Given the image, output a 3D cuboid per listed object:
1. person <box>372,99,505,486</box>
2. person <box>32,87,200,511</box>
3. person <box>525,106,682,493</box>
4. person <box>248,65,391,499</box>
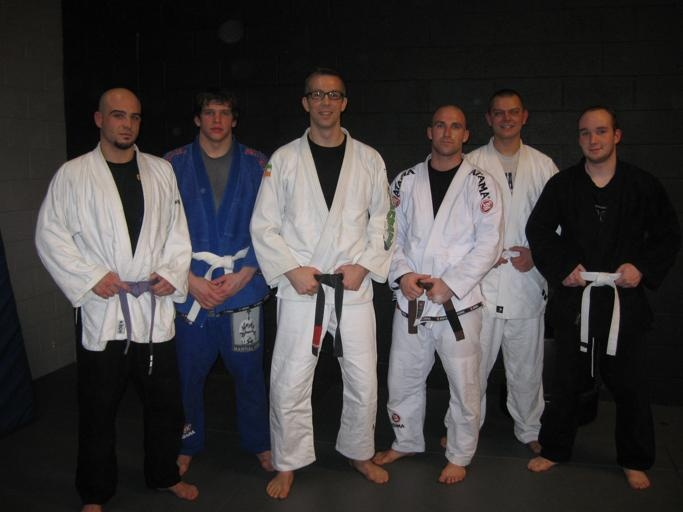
[{"bbox_3d":[0.592,0.206,3.737,0.686,2.203,0.554,5,12,24],"label":"person"},{"bbox_3d":[-1.264,0.227,3.485,0.799,2.313,0.436,-6,12,-27],"label":"person"},{"bbox_3d":[1.557,0.221,3.652,0.868,2.178,0.489,3,11,17],"label":"person"},{"bbox_3d":[-0.095,0.142,3.603,0.846,2.428,0.546,-2,11,-9],"label":"person"}]
